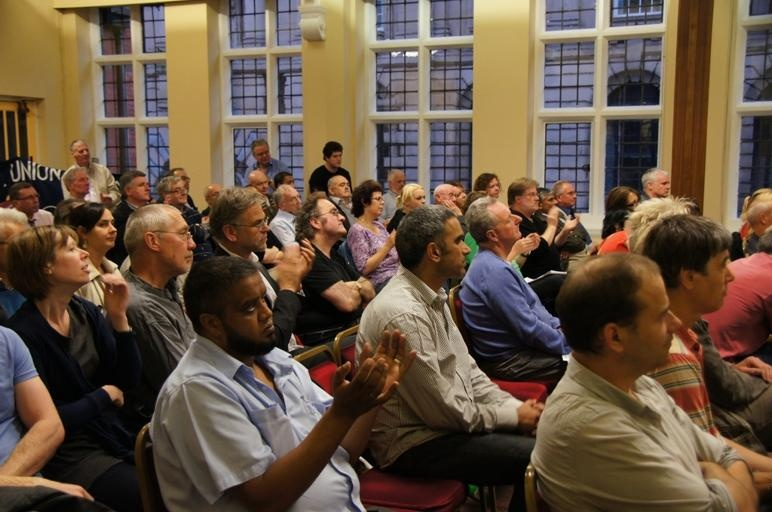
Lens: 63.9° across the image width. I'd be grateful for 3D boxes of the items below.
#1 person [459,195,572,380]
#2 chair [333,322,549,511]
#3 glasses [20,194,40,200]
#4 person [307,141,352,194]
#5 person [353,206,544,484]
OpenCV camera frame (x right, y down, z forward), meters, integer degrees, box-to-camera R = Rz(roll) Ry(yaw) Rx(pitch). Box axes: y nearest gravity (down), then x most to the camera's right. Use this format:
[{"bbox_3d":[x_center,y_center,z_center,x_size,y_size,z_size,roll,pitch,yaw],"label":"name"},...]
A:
[{"bbox_3d":[0.886,0.195,3.844,0.776,1.055,0.746,-6,10,-20],"label":"person"},{"bbox_3d":[0.267,0.689,3.318,0.887,1.697,0.589,-3,1,5],"label":"chair"},{"bbox_3d":[-3.287,-0.546,5.754,0.089,0.063,0.262,-3,5,-9],"label":"glasses"},{"bbox_3d":[-0.633,-0.931,7.422,0.513,0.886,0.432,-11,24,-25],"label":"person"},{"bbox_3d":[0.391,0.562,2.949,0.960,1.609,0.685,-1,8,13],"label":"person"}]
